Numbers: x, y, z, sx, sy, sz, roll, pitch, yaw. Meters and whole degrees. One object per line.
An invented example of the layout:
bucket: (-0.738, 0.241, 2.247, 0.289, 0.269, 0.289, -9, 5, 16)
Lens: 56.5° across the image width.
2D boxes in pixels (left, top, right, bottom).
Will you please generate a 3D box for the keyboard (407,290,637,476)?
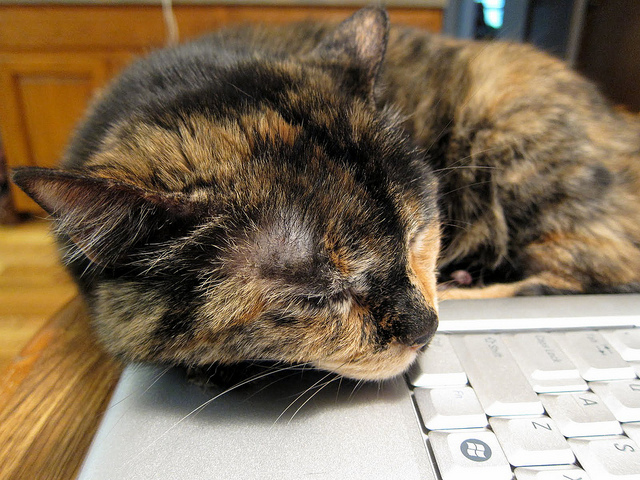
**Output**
keyboard: (0.384, 0.238, 1.053, 0.459, 0.130, 0.361, -1, 27, 3)
